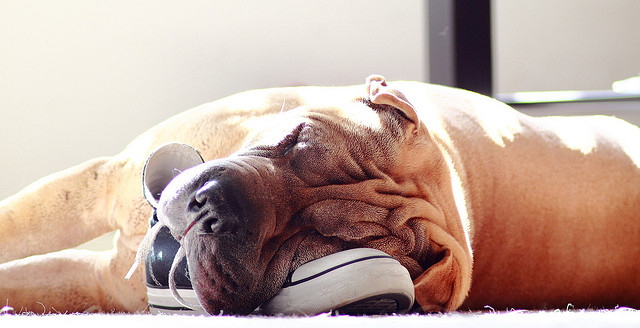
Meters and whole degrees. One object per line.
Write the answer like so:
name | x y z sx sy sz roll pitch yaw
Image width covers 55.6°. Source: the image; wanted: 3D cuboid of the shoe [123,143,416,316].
shoe | -0.207 0.201 1.828 0.804 0.476 0.280 -9 -2 29

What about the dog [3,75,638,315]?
dog | 0.034 0.034 1.931 1.448 0.482 0.931 1 -8 -5
